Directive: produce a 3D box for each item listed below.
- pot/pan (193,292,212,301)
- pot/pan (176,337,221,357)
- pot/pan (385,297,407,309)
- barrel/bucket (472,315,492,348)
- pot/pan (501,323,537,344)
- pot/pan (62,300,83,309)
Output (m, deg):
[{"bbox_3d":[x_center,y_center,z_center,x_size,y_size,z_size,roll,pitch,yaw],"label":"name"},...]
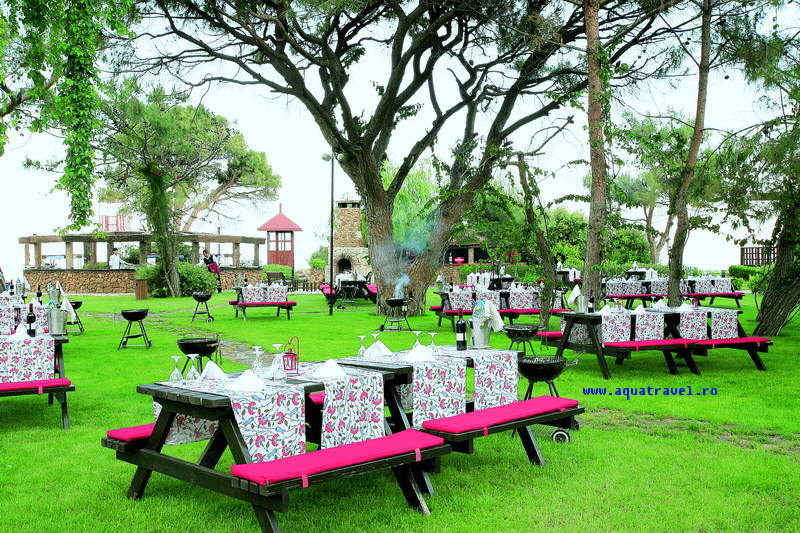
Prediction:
[{"bbox_3d":[-6.078,0.905,20.509,0.410,0.188,0.448,-2,-3,19],"label":"pot/pan"},{"bbox_3d":[-3.063,1.258,10.189,0.570,0.307,0.772,-1,0,-27],"label":"pot/pan"},{"bbox_3d":[-0.158,1.029,19.385,0.555,0.276,1.042,-1,0,-7],"label":"pot/pan"},{"bbox_3d":[1.145,0.934,9.535,0.338,0.447,0.307,-1,-1,0],"label":"barrel/bucket"},{"bbox_3d":[2.124,1.138,11.748,0.420,0.294,0.524,-1,2,-32],"label":"pot/pan"},{"bbox_3d":[-8.748,0.996,17.846,0.515,0.249,0.534,1,1,-26],"label":"pot/pan"}]
